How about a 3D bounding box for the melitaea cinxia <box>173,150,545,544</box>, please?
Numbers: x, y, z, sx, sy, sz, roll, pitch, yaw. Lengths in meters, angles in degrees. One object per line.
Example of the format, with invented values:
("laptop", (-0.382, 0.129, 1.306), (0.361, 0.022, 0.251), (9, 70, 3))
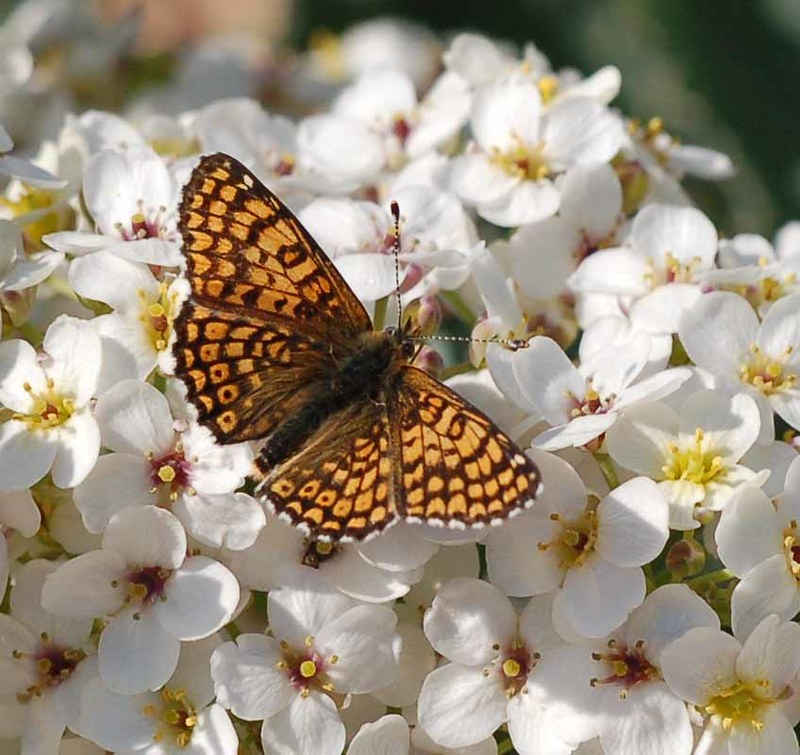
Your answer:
("melitaea cinxia", (-0.084, -0.001, 1.400), (0.219, 0.179, 0.442), (-41, 86, -5))
